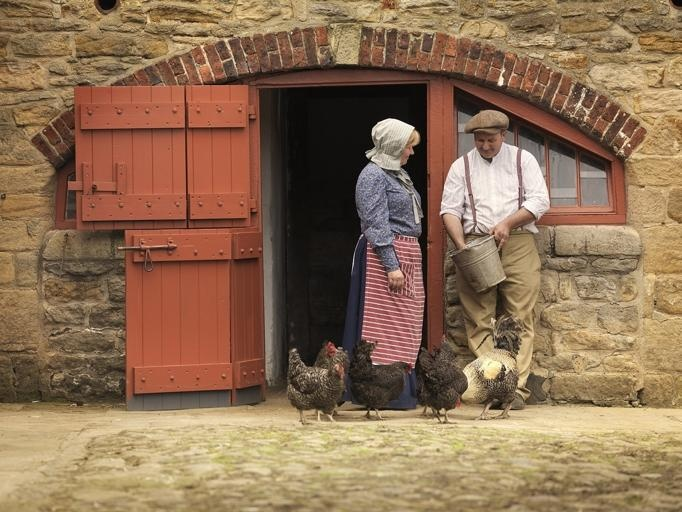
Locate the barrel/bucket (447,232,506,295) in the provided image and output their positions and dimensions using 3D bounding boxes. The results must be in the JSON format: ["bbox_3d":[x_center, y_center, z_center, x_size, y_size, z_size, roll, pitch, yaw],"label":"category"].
[{"bbox_3d":[1.182,0.083,8.396,0.472,0.407,0.480,-31,7,4],"label":"barrel/bucket"}]

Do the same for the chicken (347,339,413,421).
[{"bbox_3d":[0.314,0.952,7.927,0.472,0.559,0.256,-2,-1,1],"label":"chicken"}]

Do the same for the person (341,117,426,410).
[{"bbox_3d":[0.427,0.073,8.331,0.898,2.371,0.848,1,10,-7],"label":"person"}]

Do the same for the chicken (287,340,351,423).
[{"bbox_3d":[-0.139,1.015,7.896,0.621,0.651,0.365,-3,-1,44],"label":"chicken"}]

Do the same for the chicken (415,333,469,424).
[{"bbox_3d":[0.781,1.017,7.975,0.486,0.617,0.448,1,8,-3],"label":"chicken"}]

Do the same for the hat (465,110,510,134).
[{"bbox_3d":[1.224,-1.126,8.296,0.345,0.216,0.202,-2,-1,-8],"label":"hat"}]
